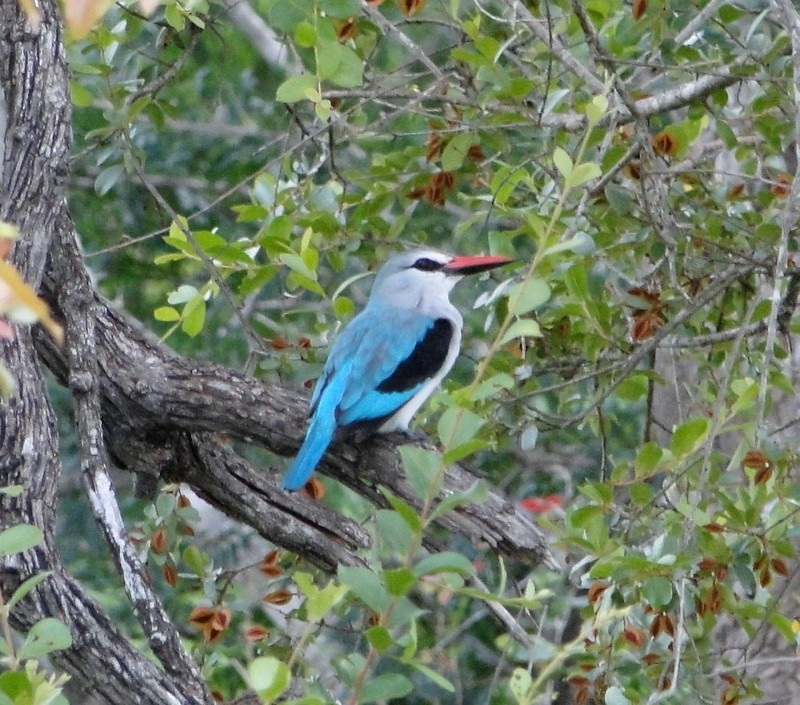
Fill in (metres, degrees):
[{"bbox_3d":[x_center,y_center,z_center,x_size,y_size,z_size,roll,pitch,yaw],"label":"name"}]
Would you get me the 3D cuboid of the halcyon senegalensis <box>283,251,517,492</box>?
[{"bbox_3d":[-0.080,0.018,5.546,0.369,1.061,0.622,11,-60,48],"label":"halcyon senegalensis"}]
